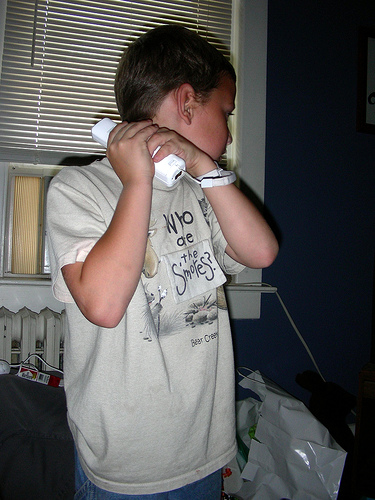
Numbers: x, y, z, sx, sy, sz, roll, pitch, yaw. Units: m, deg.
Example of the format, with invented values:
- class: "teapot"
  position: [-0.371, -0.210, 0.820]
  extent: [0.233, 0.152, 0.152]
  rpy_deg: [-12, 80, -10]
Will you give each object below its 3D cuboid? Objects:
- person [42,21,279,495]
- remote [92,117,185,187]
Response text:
- class: "person"
  position: [-0.071, -0.006, 0.856]
  extent: [0.425, 0.951, 0.294]
  rpy_deg: [-2, 2, -36]
- class: "remote"
  position: [-0.083, -0.169, 0.757]
  extent: [0.185, 0.055, 0.044]
  rpy_deg: [42, -2, 2]
